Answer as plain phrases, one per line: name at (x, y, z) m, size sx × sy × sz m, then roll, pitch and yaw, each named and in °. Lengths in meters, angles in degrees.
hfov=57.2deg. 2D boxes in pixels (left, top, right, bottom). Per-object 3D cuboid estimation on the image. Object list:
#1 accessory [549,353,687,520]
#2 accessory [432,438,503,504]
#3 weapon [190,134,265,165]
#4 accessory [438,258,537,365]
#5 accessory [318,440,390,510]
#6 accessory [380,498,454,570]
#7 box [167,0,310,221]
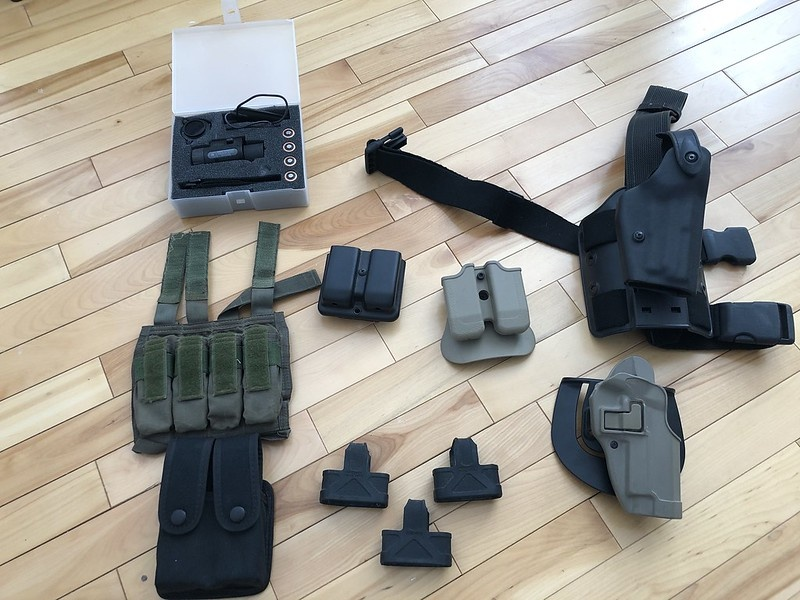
accessory at (1.116, 0.623, 3.461) m, size 0.640 × 0.597 × 0.482 m, roll 4°, pitch 26°, yaw 12°
accessory at (0.364, 0.816, 3.456) m, size 0.397 × 0.107 × 0.297 m, roll 0°, pitch 44°, yaw 0°
weapon at (-0.939, -0.783, 3.949) m, size 0.497 × 0.154 × 0.145 m, roll -4°, pitch -9°, yaw -4°
accessory at (0.507, 0.068, 3.681) m, size 0.509 × 0.470 × 0.309 m, roll 0°, pitch 26°, yaw 4°
accessory at (-0.198, 0.839, 3.453) m, size 0.404 × 0.117 × 0.315 m, roll 3°, pitch 37°, yaw 0°
accessory at (0.131, 1.080, 3.422) m, size 0.404 × 0.291 × 0.123 m, roll -7°, pitch -23°, yaw 25°
box at (-0.909, -0.970, 3.958) m, size 0.756 × 0.964 × 0.686 m, roll -4°, pitch 26°, yaw -5°
